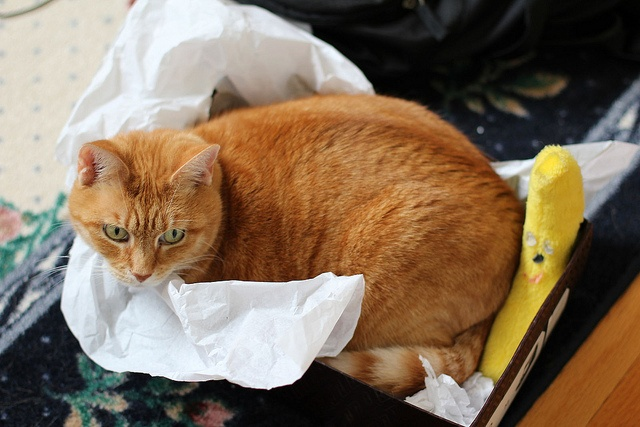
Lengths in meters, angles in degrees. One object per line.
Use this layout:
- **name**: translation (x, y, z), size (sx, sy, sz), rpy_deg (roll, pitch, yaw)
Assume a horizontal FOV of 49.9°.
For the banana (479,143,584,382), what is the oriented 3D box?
- **banana**: translation (0.611, 0.169, 1.984), size (0.144, 0.177, 0.679), rpy_deg (21, 99, 1)
